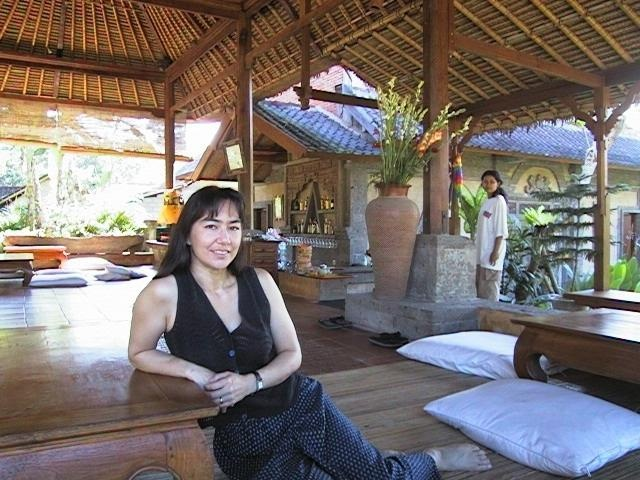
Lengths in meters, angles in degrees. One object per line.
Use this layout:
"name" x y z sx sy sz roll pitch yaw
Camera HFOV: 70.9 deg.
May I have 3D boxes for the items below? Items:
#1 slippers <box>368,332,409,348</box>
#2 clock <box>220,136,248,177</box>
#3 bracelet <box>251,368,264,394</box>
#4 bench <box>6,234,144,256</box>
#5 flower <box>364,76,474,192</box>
"slippers" 0.583 0.829 3.699 0.180 0.042 0.154 1 14 -27
"clock" -1.300 -1.284 6.923 0.051 0.503 0.508 -16 11 -43
"bracelet" -0.215 0.496 1.577 0.044 0.068 0.062 0 -5 -27
"bench" -5.253 0.087 10.181 2.811 0.405 0.577 3 22 -23
"flower" 0.851 -0.865 4.228 0.982 1.047 0.902 21 17 14
